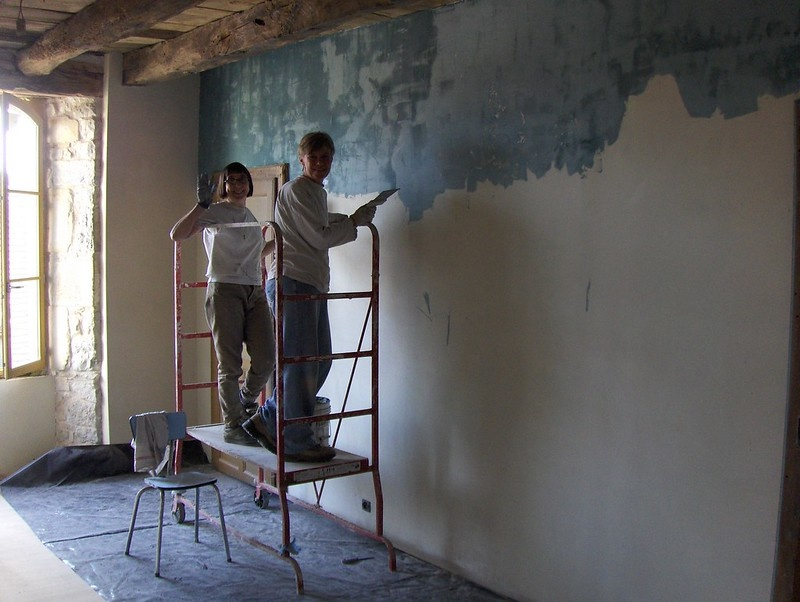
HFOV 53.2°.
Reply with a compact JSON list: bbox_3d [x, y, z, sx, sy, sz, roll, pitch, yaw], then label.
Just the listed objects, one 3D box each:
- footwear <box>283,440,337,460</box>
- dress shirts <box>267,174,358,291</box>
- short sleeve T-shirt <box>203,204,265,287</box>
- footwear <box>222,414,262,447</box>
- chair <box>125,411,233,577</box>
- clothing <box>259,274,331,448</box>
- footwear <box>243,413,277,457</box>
[{"bbox_3d":[-0.513,0.877,4.631,0.273,0.133,0.108,-3,1,-10],"label":"footwear"},{"bbox_3d":[-0.501,-0.459,4.832,0.578,0.781,0.554,-1,7,-12],"label":"dress shirts"},{"bbox_3d":[-1.048,-0.347,5.009,0.287,0.528,0.522,-1,-2,31],"label":"short sleeve T-shirt"},{"bbox_3d":[-0.980,0.828,4.945,0.272,0.209,0.104,5,-6,15],"label":"footwear"},{"bbox_3d":[-1.316,1.116,4.677,0.454,0.856,0.519,-2,4,-42],"label":"chair"},{"bbox_3d":[-0.617,0.341,4.650,0.422,0.999,0.503,-2,10,-8],"label":"clothing"},{"bbox_3d":[-0.815,0.811,4.789,0.279,0.107,0.103,19,36,-16],"label":"footwear"}]
